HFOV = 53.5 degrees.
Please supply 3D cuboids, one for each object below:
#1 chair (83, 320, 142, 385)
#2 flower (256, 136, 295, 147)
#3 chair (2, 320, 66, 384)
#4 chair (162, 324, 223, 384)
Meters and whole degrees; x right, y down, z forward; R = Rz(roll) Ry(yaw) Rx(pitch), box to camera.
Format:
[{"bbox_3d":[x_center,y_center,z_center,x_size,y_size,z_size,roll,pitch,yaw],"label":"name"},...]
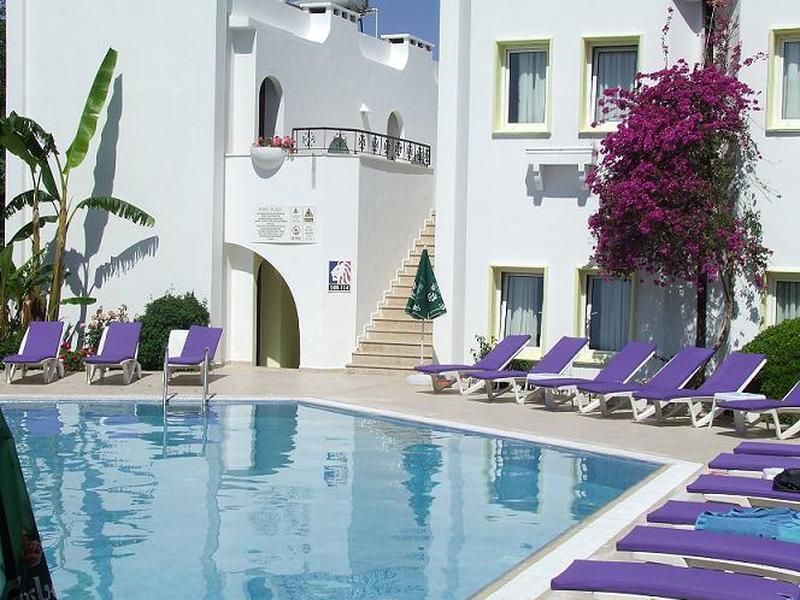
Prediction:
[{"bbox_3d":[-6.027,1.113,16.707,0.838,1.310,1.305,0,1,2],"label":"chair"},{"bbox_3d":[-3.032,-3.837,19.374,0.592,0.292,0.439,-2,6,-8],"label":"flower"},{"bbox_3d":[-7.744,1.111,16.834,1.005,1.207,1.394,-1,5,-12],"label":"chair"},{"bbox_3d":[-4.214,1.086,16.341,0.759,0.951,1.221,3,7,8],"label":"chair"}]
